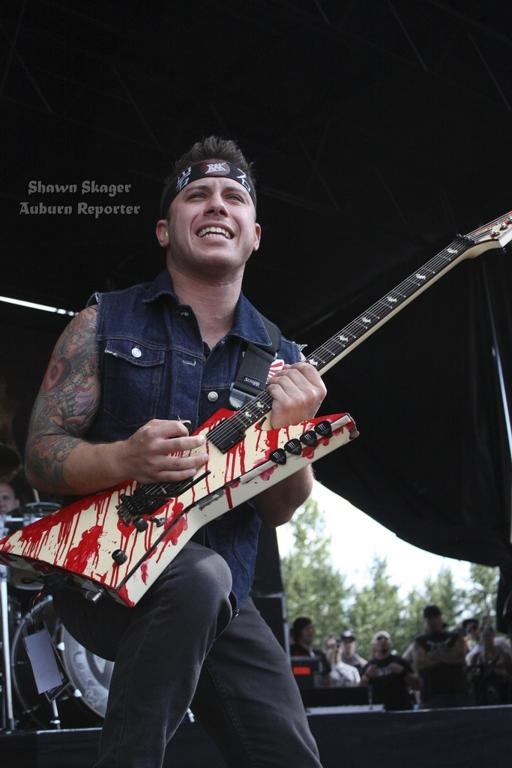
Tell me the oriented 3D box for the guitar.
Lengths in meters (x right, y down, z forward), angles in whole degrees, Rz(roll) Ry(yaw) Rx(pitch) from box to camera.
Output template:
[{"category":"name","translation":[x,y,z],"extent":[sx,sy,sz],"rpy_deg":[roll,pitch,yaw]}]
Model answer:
[{"category":"guitar","translation":[0.111,0.028,2.635],"extent":[1.754,1.359,0.814],"rpy_deg":[10,-15,-30]}]
